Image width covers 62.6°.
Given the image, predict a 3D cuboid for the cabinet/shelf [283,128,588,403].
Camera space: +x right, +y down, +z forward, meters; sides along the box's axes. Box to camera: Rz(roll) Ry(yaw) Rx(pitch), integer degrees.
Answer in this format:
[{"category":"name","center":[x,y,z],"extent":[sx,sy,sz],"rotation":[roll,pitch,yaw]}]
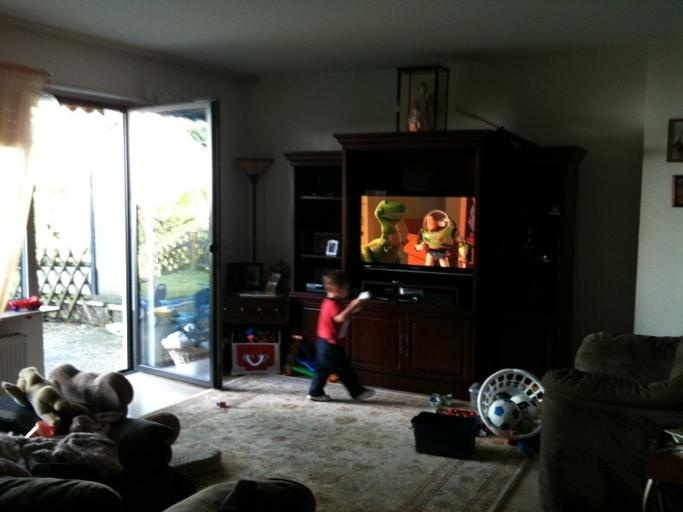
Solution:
[{"category":"cabinet/shelf","center":[0.967,0.113,5.230],"extent":[2.813,2.251,0.734],"rotation":[1,2,26]}]

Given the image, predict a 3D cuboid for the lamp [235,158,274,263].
[{"category":"lamp","center":[-1.006,-0.541,6.522],"extent":[0.414,1.184,0.354],"rotation":[-2,8,-19]}]

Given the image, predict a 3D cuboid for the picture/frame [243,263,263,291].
[{"category":"picture/frame","center":[-0.972,0.222,6.150],"extent":[0.283,0.375,0.274],"rotation":[-1,-1,-8]}]

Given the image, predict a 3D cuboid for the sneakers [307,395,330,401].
[{"category":"sneakers","center":[-0.221,1.248,5.029],"extent":[0.190,0.073,0.065],"rotation":[1,0,1]}]

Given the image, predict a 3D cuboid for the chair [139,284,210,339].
[{"category":"chair","center":[-1.604,0.506,5.483],"extent":[0.671,0.402,0.436],"rotation":[5,6,24]}]
